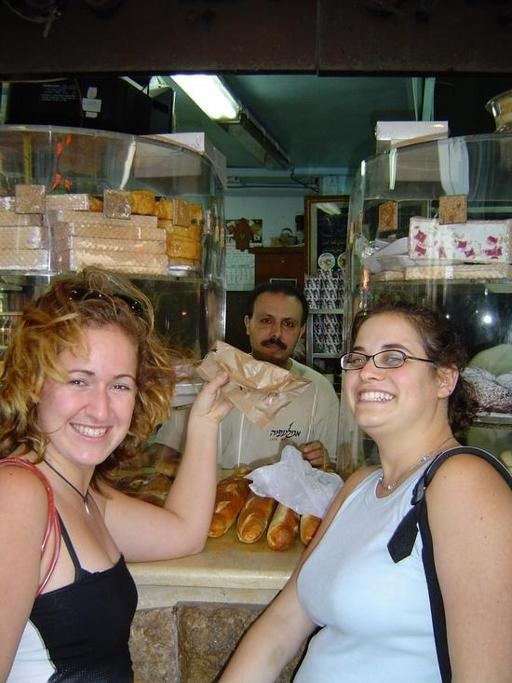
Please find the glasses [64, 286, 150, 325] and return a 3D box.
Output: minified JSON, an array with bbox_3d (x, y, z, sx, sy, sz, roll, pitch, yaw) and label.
[{"bbox_3d":[-0.303,-0.071,1.138,0.097,0.035,0.088,10,-1,-2],"label":"glasses"}]
